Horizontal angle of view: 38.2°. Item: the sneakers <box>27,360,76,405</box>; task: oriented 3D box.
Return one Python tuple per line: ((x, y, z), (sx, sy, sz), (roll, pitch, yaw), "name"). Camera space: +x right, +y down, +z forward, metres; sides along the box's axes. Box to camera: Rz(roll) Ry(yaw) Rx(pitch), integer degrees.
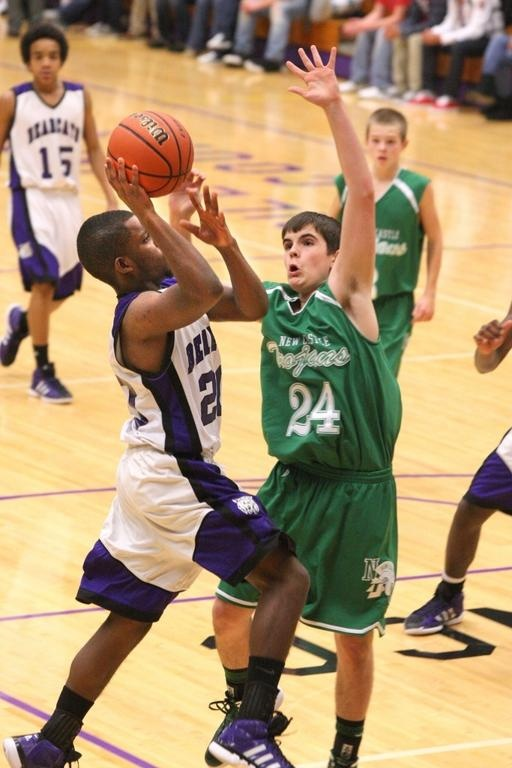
((-1.231, -0.003, 4.660), (0.402, 0.267, 0.148), (17, 18, 35), "sneakers")
